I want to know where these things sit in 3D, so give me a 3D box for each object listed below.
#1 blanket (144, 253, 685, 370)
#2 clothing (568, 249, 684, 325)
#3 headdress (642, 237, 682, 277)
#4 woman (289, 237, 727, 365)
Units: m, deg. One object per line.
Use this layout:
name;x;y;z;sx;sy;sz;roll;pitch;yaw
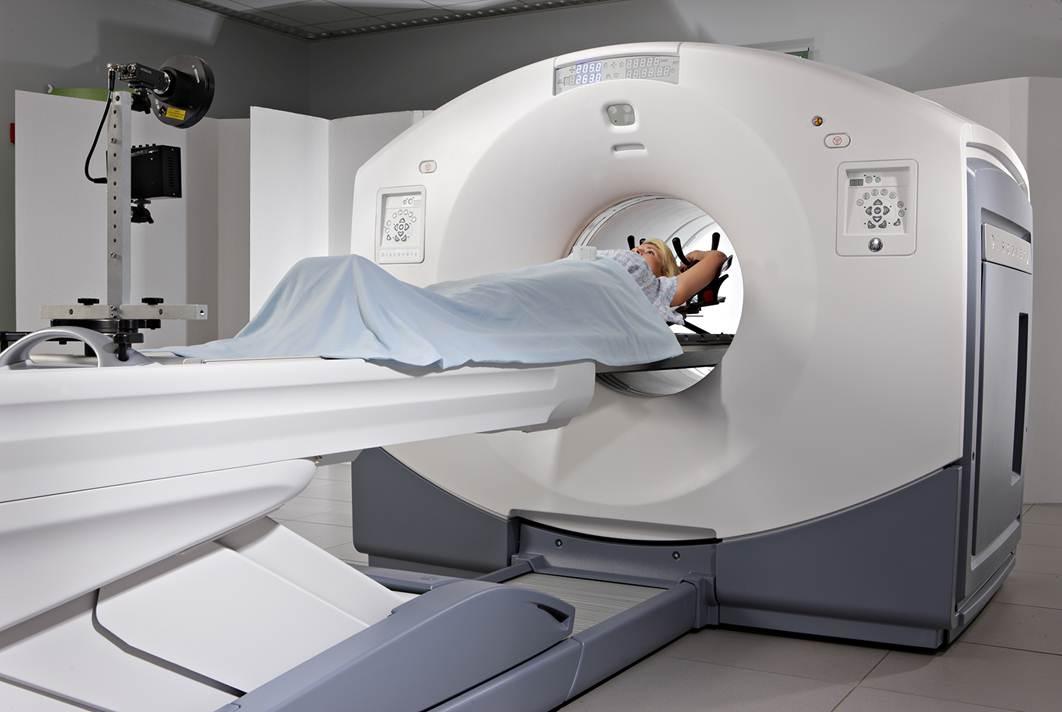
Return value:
blanket;-0.103;-0.094;1.690;0.761;0.202;0.546;-2;5;-42
clothing;0.351;-0.196;2.441;0.304;0.100;0.286;1;-7;38
headdress;0.493;-0.379;2.681;0.150;0.157;0.116;-13;21;-35
woman;-0.058;-0.093;1.701;0.767;0.162;0.437;-2;8;-41
